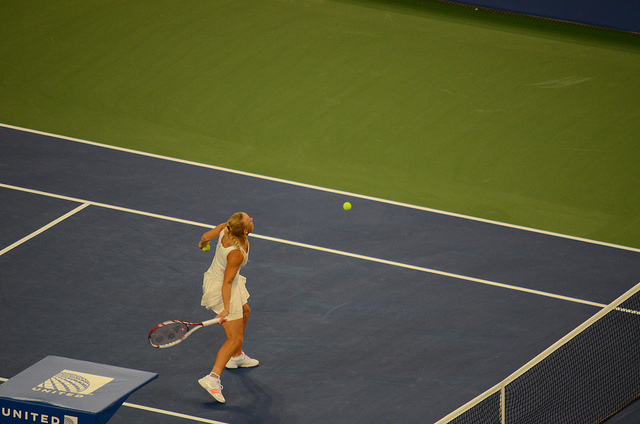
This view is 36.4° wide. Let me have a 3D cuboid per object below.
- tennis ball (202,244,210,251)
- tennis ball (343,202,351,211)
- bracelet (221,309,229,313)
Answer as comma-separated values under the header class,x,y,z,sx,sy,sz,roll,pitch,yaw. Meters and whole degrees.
class,x,y,z,sx,sy,sz,roll,pitch,yaw
tennis ball,-1.696,0.542,14.520,0.095,0.095,0.094,0,71,1
tennis ball,0.488,-0.089,17.334,0.131,0.071,0.187,6,36,-11
bracelet,-1.341,1.420,13.862,0.067,0.046,0.066,-1,-6,22
